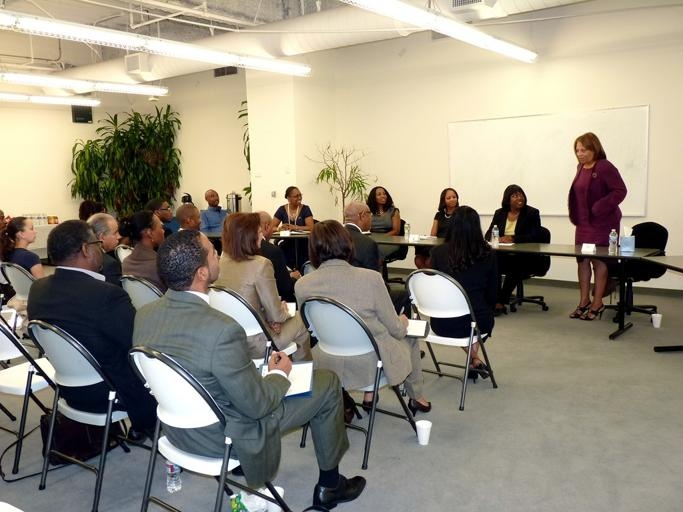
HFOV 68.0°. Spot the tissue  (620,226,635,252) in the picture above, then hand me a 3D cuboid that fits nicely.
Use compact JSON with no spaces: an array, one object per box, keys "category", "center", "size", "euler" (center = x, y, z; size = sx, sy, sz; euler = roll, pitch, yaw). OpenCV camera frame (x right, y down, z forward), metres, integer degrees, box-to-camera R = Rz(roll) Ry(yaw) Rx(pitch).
[{"category":"tissue ","center":[2.841,-0.158,5.029],"size":[0.131,0.224,0.272],"euler":[4,12,30]}]

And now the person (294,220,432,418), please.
[{"category":"person","center":[0.185,0.503,3.499],"size":[0.627,1.664,0.860],"euler":[2,17,28]}]

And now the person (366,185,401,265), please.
[{"category":"person","center":[0.564,-0.343,7.466],"size":[0.510,1.310,0.653],"euler":[0,12,5]}]

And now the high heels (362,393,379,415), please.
[{"category":"high heels","center":[0.193,1.019,3.446],"size":[0.081,0.162,0.270],"euler":[1,9,12]}]

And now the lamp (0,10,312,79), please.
[{"category":"lamp","center":[-2.109,-2.435,5.932],"size":[3.229,0.312,0.534],"euler":[-11,14,-38]}]

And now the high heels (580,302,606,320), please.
[{"category":"high heels","center":[2.846,0.635,5.688],"size":[0.327,0.146,0.128],"euler":[-2,2,-44]}]

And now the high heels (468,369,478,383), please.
[{"category":"high heels","center":[1.090,0.998,4.215],"size":[0.097,0.143,0.117],"euler":[0,0,12]}]

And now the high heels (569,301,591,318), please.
[{"category":"high heels","center":[2.695,0.639,5.716],"size":[0.321,0.096,0.114],"euler":[-32,18,-37]}]

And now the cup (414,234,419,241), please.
[{"category":"cup","center":[0.950,-0.218,6.441],"size":[0.072,0.058,0.075],"euler":[-1,12,0]}]

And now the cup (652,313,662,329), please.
[{"category":"cup","center":[3.306,0.690,5.309],"size":[0.127,0.148,0.137],"euler":[1,-3,0]}]

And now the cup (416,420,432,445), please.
[{"category":"cup","center":[0.530,1.153,3.362],"size":[0.122,0.155,0.135],"euler":[2,6,16]}]

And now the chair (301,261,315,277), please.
[{"category":"chair","center":[-0.280,0.126,4.329],"size":[0.119,0.149,0.132],"euler":[1,-2,2]}]

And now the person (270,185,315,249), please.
[{"category":"person","center":[-0.765,-0.463,7.626],"size":[0.638,1.073,0.540],"euler":[4,16,1]}]

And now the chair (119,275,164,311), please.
[{"category":"chair","center":[-1.337,0.251,3.328],"size":[0.175,0.258,0.176],"euler":[-15,22,-41]}]
